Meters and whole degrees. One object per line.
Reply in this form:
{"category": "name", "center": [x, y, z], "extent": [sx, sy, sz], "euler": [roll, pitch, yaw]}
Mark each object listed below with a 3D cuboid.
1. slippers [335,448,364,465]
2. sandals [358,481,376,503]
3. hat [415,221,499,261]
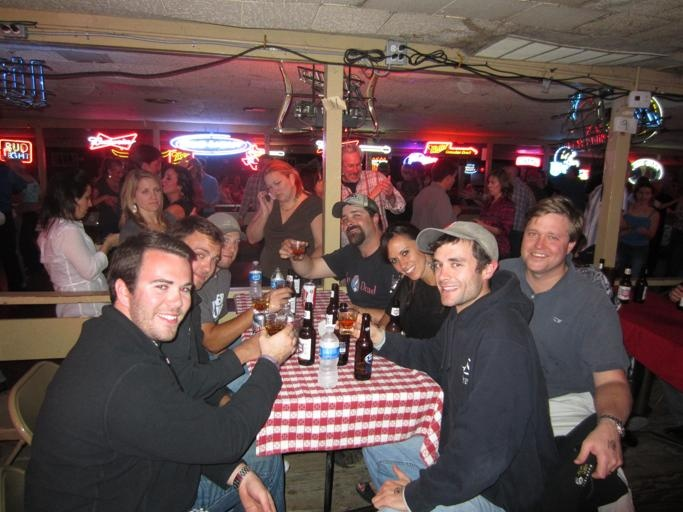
{"category": "slippers", "center": [0.059, 1.748, 4.456], "extent": [0.167, 0.041, 0.154], "euler": [2, 20, -6]}
{"category": "sandals", "center": [0.185, 1.865, 4.100], "extent": [0.089, 0.079, 0.209], "euler": [-4, 23, -20]}
{"category": "hat", "center": [0.770, -0.128, 3.374], "extent": [0.423, 0.200, 0.309], "euler": [23, -10, -7]}
